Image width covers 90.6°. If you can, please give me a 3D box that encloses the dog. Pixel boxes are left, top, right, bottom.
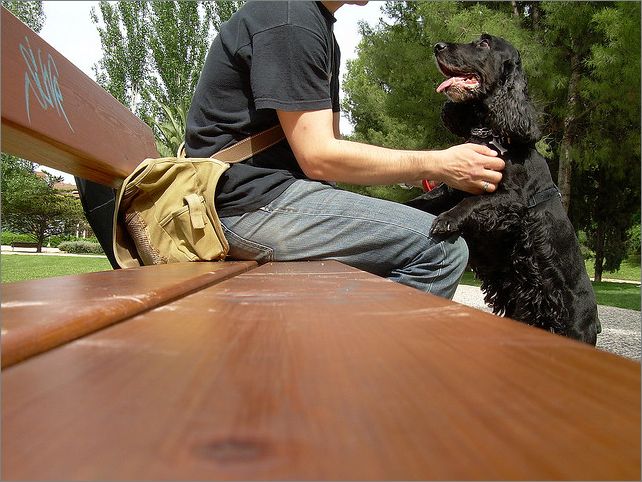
[{"bbox_3d":[1.384,-0.156,2.377,1.193,2.694,0.815,2,6,4],"label":"dog"}]

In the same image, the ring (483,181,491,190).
[{"bbox_3d":[0.931,-0.315,1.784,0.008,0.044,0.039,2,0,5],"label":"ring"}]
